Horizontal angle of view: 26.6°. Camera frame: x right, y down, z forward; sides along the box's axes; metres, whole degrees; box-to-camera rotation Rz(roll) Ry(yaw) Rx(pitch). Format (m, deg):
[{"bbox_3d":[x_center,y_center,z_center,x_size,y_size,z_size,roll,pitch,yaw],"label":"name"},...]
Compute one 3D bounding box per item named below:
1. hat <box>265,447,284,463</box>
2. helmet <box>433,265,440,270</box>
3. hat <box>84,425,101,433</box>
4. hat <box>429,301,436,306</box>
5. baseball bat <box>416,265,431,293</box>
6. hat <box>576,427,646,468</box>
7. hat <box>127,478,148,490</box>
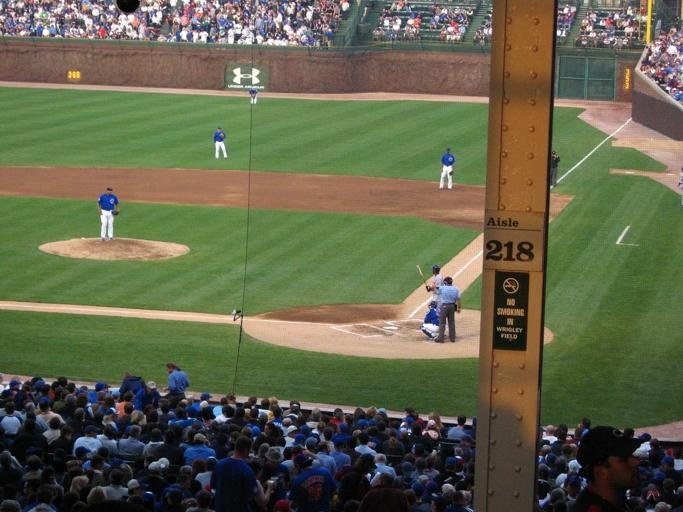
[{"bbox_3d":[-1.544,4.672,33.374,0.413,0.383,0.288,2,2,-13],"label":"hat"},{"bbox_3d":[2.809,0.436,43.322,0.154,0.154,0.190,-12,27,-43],"label":"helmet"},{"bbox_3d":[-5.958,4.250,34.700,0.199,0.115,0.262,9,18,36],"label":"hat"},{"bbox_3d":[2.732,1.515,43.635,0.250,0.123,0.300,1,0,-1],"label":"hat"},{"bbox_3d":[2.531,0.663,46.253,0.203,1.210,0.092,-35,34,-4],"label":"baseball bat"},{"bbox_3d":[5.140,3.717,28.066,1.149,0.522,0.754,-21,6,8],"label":"hat"},{"bbox_3d":[-4.615,5.267,32.817,0.385,0.112,0.225,-1,9,-26],"label":"hat"}]
